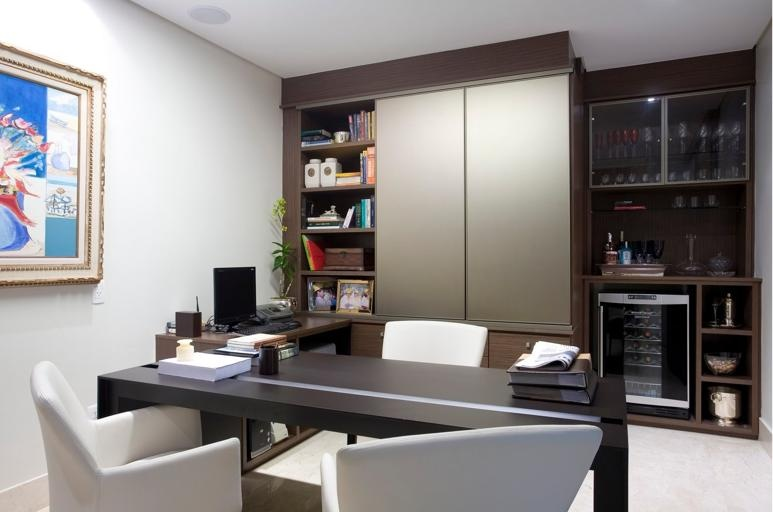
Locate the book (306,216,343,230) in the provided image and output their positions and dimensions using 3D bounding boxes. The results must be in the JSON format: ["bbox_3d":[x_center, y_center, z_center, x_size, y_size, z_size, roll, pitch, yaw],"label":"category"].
[{"bbox_3d":[-0.594,-0.324,5.174,0.353,0.119,0.218,0,11,-2],"label":"book"}]

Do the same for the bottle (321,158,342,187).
[{"bbox_3d":[-0.535,-0.801,5.179,0.198,0.254,0.190,0,12,0],"label":"bottle"}]

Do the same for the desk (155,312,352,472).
[{"bbox_3d":[-1.132,0.985,4.438,0.927,0.963,1.824,4,-1,26],"label":"desk"}]

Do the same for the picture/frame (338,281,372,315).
[{"bbox_3d":[-0.284,0.389,5.067,0.308,0.256,0.031,-2,-11,17],"label":"picture/frame"}]

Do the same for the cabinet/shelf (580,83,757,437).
[{"bbox_3d":[2.464,-0.013,4.757,1.450,2.871,0.877,4,13,20],"label":"cabinet/shelf"}]

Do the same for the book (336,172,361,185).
[{"bbox_3d":[-0.356,-0.730,5.108,0.231,0.118,0.132,0,12,-1],"label":"book"}]

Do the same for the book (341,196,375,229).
[{"bbox_3d":[-0.249,-0.353,5.198,0.277,0.357,0.373,5,-7,-28],"label":"book"}]

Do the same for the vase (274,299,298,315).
[{"bbox_3d":[-0.900,0.439,4.795,0.199,0.137,0.138,-1,-5,11],"label":"vase"}]

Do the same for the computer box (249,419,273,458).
[{"bbox_3d":[-0.962,1.318,4.058,0.148,0.253,0.202,6,8,39],"label":"computer box"}]

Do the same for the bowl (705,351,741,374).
[{"bbox_3d":[2.811,0.887,4.576,0.214,0.134,0.213,-1,-7,0],"label":"bowl"}]

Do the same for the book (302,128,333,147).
[{"bbox_3d":[-0.684,-1.148,5.253,0.206,0.050,0.222,0,3,20],"label":"book"}]

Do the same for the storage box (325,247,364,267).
[{"bbox_3d":[-0.392,0.010,5.082,0.269,0.126,0.193,-2,-4,20],"label":"storage box"}]

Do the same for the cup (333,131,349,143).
[{"bbox_3d":[-0.438,-1.147,5.186,0.139,0.100,0.119,-1,1,-17],"label":"cup"}]

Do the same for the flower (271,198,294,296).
[{"bbox_3d":[-0.999,-0.087,5.233,0.207,0.950,0.415,-3,12,-12],"label":"flower"}]

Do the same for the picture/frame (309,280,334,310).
[{"bbox_3d":[-0.637,0.373,5.237,0.291,0.277,0.021,0,-9,-6],"label":"picture/frame"}]

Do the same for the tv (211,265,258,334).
[{"bbox_3d":[-1.212,0.353,4.350,0.200,0.588,0.505,-3,-2,31],"label":"tv"}]

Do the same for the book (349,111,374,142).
[{"bbox_3d":[-0.235,-1.216,5.079,0.272,0.279,0.183,2,12,10],"label":"book"}]

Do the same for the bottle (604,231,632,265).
[{"bbox_3d":[2.140,-0.080,5.037,0.295,0.369,0.220,-3,-7,29],"label":"bottle"}]

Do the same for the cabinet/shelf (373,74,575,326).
[{"bbox_3d":[0.792,-0.478,4.611,1.562,2.039,0.417,4,13,18],"label":"cabinet/shelf"}]
